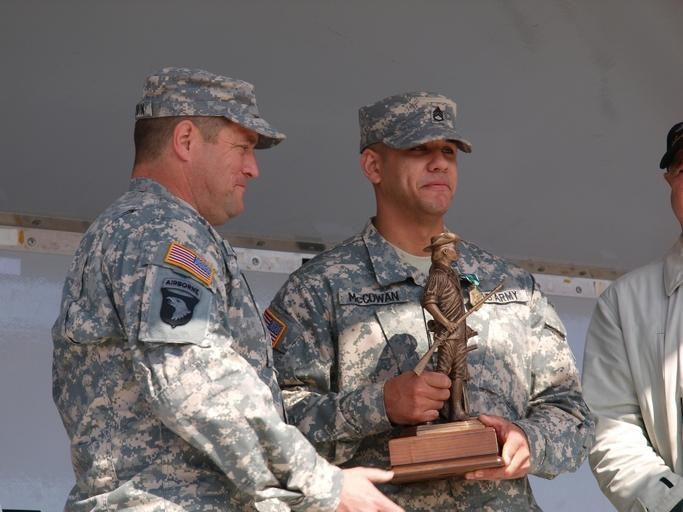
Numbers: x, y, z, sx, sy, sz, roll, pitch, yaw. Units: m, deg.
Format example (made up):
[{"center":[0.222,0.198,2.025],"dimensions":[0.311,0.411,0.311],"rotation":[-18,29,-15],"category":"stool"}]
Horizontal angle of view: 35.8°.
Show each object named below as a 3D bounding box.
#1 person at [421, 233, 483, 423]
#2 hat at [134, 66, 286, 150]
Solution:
[{"center":[0.457,0.300,4.496],"dimensions":[0.210,0.803,0.181],"rotation":[0,-1,18],"category":"person"},{"center":[-0.544,-0.622,4.408],"dimensions":[0.517,0.218,0.300],"rotation":[4,0,-7],"category":"hat"}]
